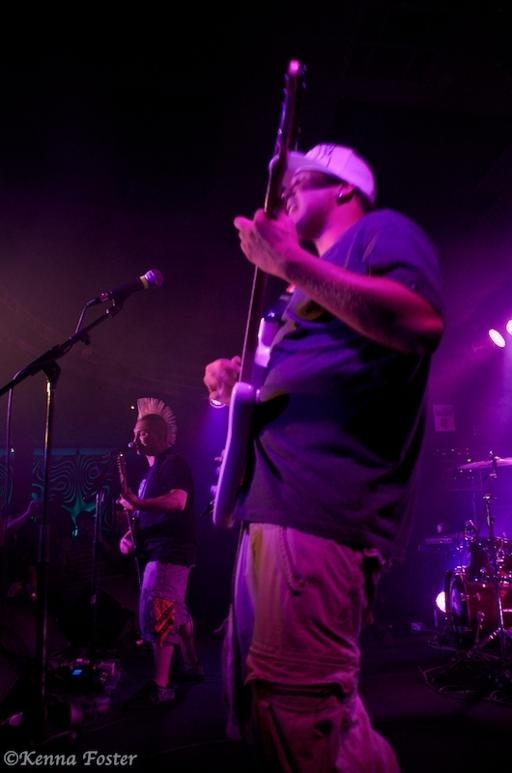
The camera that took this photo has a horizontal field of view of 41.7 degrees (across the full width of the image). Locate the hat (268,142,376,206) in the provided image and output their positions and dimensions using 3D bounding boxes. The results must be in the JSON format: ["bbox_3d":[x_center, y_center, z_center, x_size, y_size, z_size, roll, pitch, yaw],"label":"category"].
[{"bbox_3d":[0.216,-0.641,2.129,0.268,0.146,0.182,17,2,-1],"label":"hat"}]

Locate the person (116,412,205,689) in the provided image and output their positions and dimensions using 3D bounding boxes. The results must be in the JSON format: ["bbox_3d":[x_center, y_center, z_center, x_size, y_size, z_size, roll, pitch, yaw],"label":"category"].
[{"bbox_3d":[-0.833,1.481,5.730,0.799,2.313,0.892,8,-43,-17],"label":"person"}]
